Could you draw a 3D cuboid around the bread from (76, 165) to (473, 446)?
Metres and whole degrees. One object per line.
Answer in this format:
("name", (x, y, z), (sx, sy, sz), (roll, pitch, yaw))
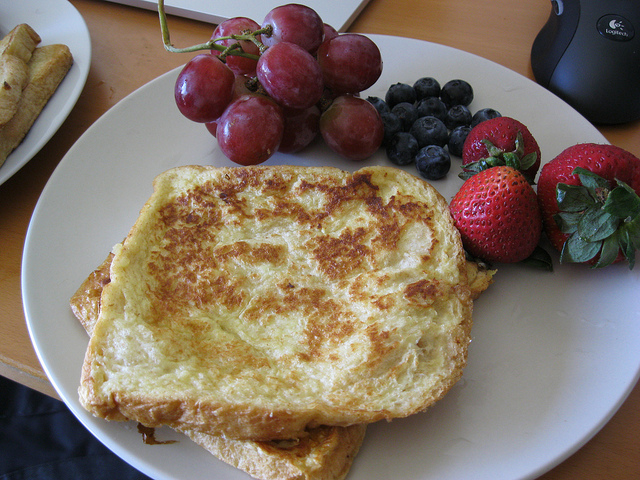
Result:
("bread", (-0.106, 0.155, 1.806), (0.966, 0.260, 0.843), (-4, 51, -10))

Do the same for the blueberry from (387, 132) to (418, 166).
("blueberry", (0.245, -0.272, 2.021), (0.090, 0.046, 0.087), (8, 78, 1))

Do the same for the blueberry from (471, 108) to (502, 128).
("blueberry", (0.488, -0.370, 2.028), (0.062, 0.040, 0.059), (7, 54, 22))

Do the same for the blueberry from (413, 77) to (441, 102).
("blueberry", (0.338, -0.471, 2.112), (0.064, 0.052, 0.072), (-2, 50, 4))

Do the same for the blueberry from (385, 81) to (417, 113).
("blueberry", (0.249, -0.448, 2.106), (0.081, 0.093, 0.088), (-10, 25, 7))
